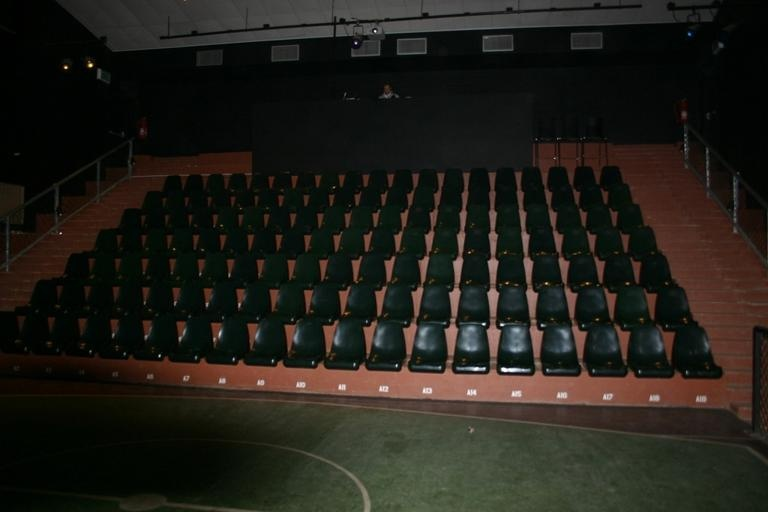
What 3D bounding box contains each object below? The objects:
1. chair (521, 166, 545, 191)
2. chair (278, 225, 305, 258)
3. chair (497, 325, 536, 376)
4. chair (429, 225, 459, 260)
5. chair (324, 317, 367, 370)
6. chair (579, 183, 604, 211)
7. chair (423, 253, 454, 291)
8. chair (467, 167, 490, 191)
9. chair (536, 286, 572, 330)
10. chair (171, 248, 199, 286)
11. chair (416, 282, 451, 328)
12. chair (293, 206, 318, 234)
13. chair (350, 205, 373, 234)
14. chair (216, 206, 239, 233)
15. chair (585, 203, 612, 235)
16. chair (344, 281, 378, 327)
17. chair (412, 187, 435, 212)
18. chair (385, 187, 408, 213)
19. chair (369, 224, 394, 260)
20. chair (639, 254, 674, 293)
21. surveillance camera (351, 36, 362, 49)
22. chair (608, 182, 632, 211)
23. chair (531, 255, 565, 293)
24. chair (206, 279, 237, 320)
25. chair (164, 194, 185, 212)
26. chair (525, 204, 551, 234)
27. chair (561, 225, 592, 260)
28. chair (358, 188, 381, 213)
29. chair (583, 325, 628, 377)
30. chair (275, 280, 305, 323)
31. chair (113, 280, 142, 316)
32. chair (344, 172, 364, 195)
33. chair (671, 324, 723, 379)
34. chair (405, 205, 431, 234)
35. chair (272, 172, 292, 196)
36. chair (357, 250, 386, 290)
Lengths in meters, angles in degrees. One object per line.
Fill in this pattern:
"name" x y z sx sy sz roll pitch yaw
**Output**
"chair" 2.286 -1.180 8.650 0.344 0.509 0.414 0 -6 8
"chair" -1.289 -0.146 7.785 0.375 0.226 0.541 -8 36 -10
"chair" 1.480 1.056 6.362 0.476 0.499 0.432 0 -6 6
"chair" 0.819 -0.182 7.674 0.391 0.432 0.358 2 -2 7
"chair" -0.453 1.021 6.544 0.461 0.357 0.485 -1 35 0
"chair" 3.010 -0.861 8.109 0.381 0.402 0.348 -1 -4 7
"chair" 0.728 0.192 7.242 0.435 0.476 0.383 3 1 4
"chair" 1.483 -1.155 8.778 0.317 0.385 0.463 1 34 8
"chair" 2.007 0.623 6.756 0.482 0.511 0.439 0 -5 6
"chair" -2.728 0.129 7.660 0.367 0.246 0.489 -13 37 -17
"chair" 0.623 0.602 6.856 0.444 0.469 0.406 1 -5 7
"chair" -1.143 -0.531 8.251 0.285 0.403 0.367 5 3 3
"chair" -0.317 -0.510 8.169 0.295 0.418 0.372 1 -13 6
"chair" -2.345 -0.547 8.424 0.330 0.343 0.348 3 7 17
"chair" 2.976 -0.509 7.790 0.404 0.427 0.369 0 3 11
"chair" -0.246 0.588 6.980 0.444 0.470 0.405 2 -4 6
"chair" 0.583 -0.857 8.382 0.316 0.438 0.362 1 -8 8
"chair" 0.201 -0.859 8.512 0.303 0.458 0.363 2 3 5
"chair" -0.020 -0.182 7.663 0.370 0.463 0.372 2 -2 8
"chair" 3.364 0.202 7.030 0.423 0.449 0.407 -2 -16 22
"surveillance camera" -0.523 -4.084 10.780 0.166 0.242 0.480 -1 35 0
"chair" 3.381 -0.853 8.076 0.348 0.366 0.367 1 5 29
"chair" 2.047 0.217 7.093 0.436 0.464 0.408 1 1 8
"chair" -1.998 0.569 7.245 0.414 0.494 0.414 1 -4 -3
"chair" -3.369 -0.842 9.043 0.245 0.263 0.244 9 -14 -36
"chair" 2.148 -0.517 7.826 0.374 0.421 0.373 1 -7 7
"chair" 2.542 -0.172 7.446 0.387 0.409 0.364 1 -2 8
"chair" -0.213 -0.833 8.516 0.314 0.447 0.355 2 5 4
"chair" 2.467 1.069 6.288 0.421 0.383 0.499 3 35 6
"chair" -1.105 0.580 7.076 0.410 0.482 0.409 4 -4 3
"chair" -3.347 0.558 7.355 0.321 0.423 0.435 3 1 -28
"chair" -0.476 -1.177 9.043 0.332 0.350 0.343 2 -1 -12
"chair" 3.427 1.062 6.388 0.502 0.639 0.531 1 -4 8
"chair" 0.469 -0.510 7.959 0.353 0.408 0.328 2 -4 6
"chair" -1.661 -1.154 9.145 0.338 0.273 0.534 2 41 -2
"chair" -0.149 0.185 7.270 0.368 0.471 0.395 2 -5 8
